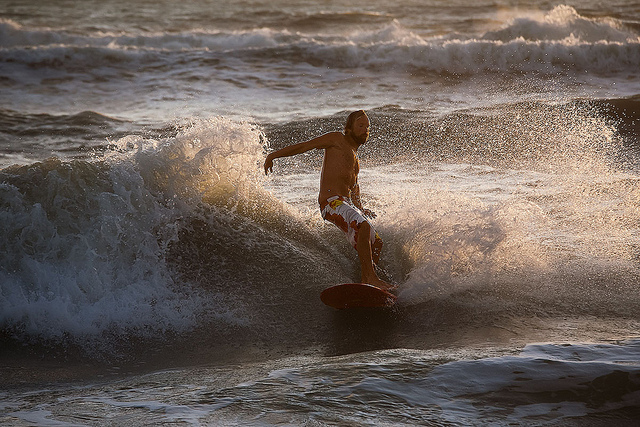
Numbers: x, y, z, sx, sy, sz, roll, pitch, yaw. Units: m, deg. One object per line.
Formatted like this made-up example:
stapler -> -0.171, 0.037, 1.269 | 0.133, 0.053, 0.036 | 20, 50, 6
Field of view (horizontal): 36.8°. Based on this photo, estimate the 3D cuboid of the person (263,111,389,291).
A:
person -> 0.323, -0.232, 13.793 | 1.439, 2.363, 1.160 | -6, 16, -14
